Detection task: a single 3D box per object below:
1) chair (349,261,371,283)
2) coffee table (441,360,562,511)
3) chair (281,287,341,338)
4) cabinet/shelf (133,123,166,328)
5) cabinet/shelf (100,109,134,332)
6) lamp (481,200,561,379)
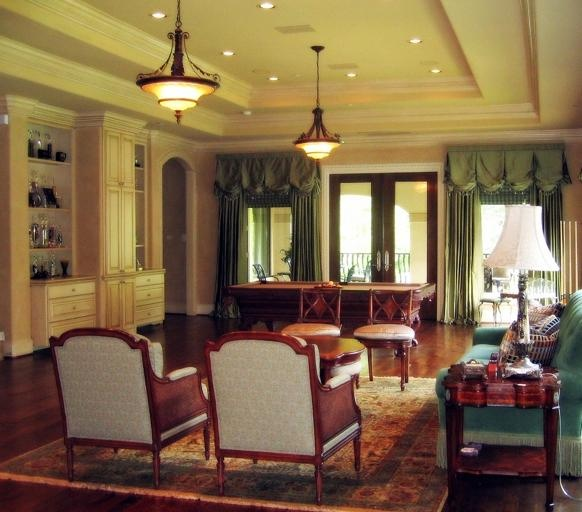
[{"bbox_3d":[1.359,0.303,9.831,0.430,0.501,0.359,1,-4,6],"label":"chair"},{"bbox_3d":[1.148,0.985,2.699,0.691,0.793,0.489,1,11,14],"label":"coffee table"},{"bbox_3d":[0.298,0.656,5.786,0.629,0.867,0.635,-1,-5,19],"label":"chair"},{"bbox_3d":[-2.505,-0.489,8.898,0.499,3.393,0.891,-1,1,-15],"label":"cabinet/shelf"},{"bbox_3d":[-2.677,-0.455,7.839,0.303,3.315,0.835,-1,1,16],"label":"cabinet/shelf"},{"bbox_3d":[1.291,0.180,2.830,0.365,0.940,0.577,0,1,32],"label":"lamp"}]
